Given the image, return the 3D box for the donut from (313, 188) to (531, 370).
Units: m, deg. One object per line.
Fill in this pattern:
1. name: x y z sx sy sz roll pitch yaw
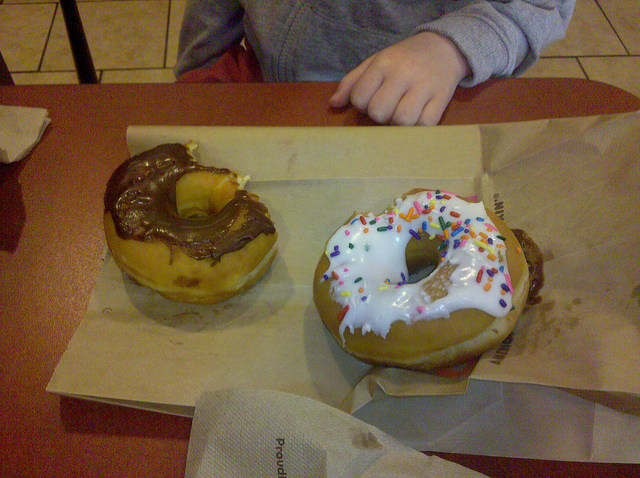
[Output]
1. donut: 0.261 0.102 1.596 0.505 0.230 0.454 -8 61 -17
